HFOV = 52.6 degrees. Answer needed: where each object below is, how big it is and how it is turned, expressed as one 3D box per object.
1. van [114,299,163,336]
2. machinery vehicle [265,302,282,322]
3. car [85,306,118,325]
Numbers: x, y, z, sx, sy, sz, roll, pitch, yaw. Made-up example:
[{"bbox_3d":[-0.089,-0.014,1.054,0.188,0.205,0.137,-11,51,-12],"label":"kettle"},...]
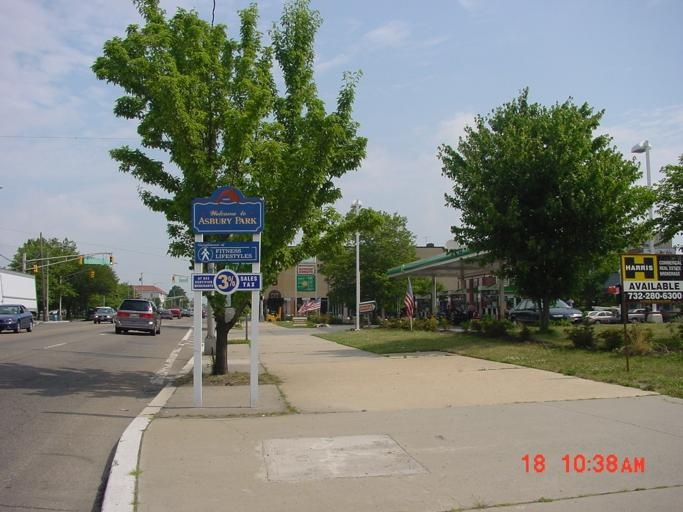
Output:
[{"bbox_3d":[-10.130,2.897,34.595,1.410,1.150,2.901,1,-2,-5],"label":"van"},{"bbox_3d":[-7.273,5.973,75.809,1.874,1.901,2.476,0,-6,-12],"label":"machinery vehicle"},{"bbox_3d":[-18.535,4.534,53.481,1.269,1.373,2.841,1,-8,-10],"label":"car"}]
